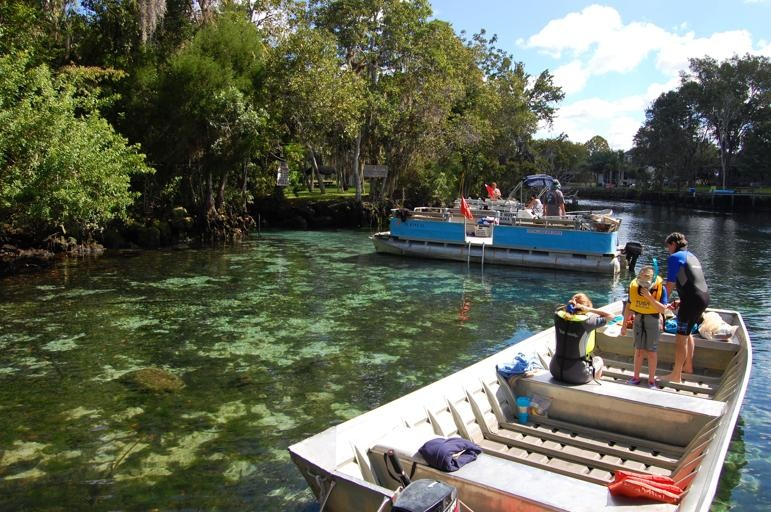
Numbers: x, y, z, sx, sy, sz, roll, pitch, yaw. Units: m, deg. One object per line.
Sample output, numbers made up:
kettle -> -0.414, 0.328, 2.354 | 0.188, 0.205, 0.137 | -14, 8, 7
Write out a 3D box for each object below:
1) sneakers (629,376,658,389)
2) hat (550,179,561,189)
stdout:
sneakers -> 5.839, 2.873, 11.012 | 0.671, 0.227, 0.236 | -1, 19, 15
hat -> 10.301, -4.414, 29.736 | 0.748, 0.705, 0.591 | 8, 1, 41
